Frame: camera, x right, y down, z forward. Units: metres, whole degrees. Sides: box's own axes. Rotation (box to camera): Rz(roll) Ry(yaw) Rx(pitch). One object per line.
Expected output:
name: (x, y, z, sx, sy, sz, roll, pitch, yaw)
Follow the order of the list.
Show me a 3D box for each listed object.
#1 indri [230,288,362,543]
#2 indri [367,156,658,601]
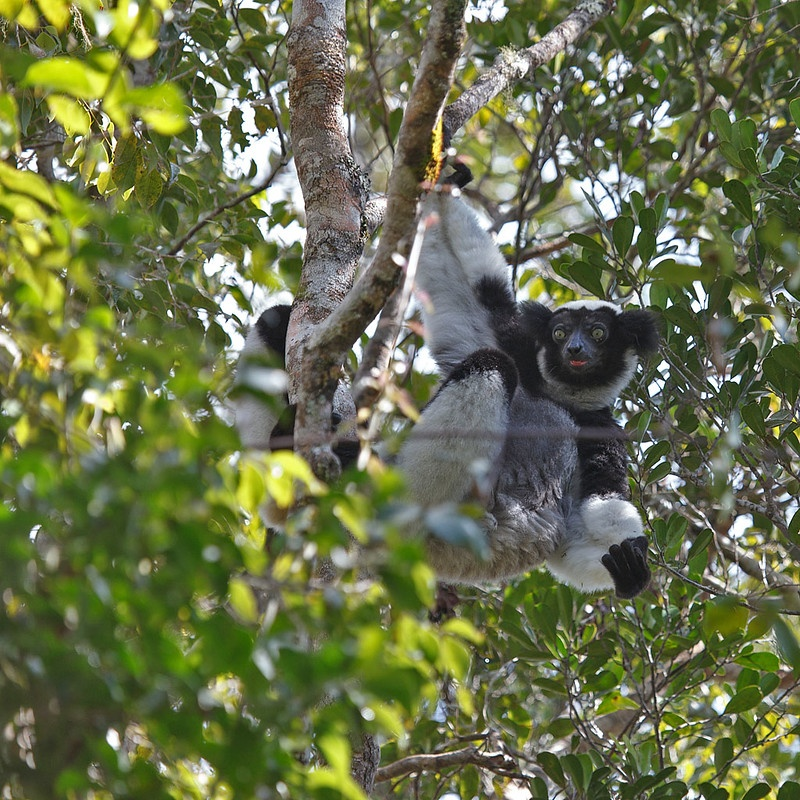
indri: (-0.487, 0.036, 4.843, 0.475, 0.943, 0.481, 1, -4, 34)
indri: (0.552, 0.068, 5.916, 1.046, 2.044, 1.339, 4, -45, 3)
